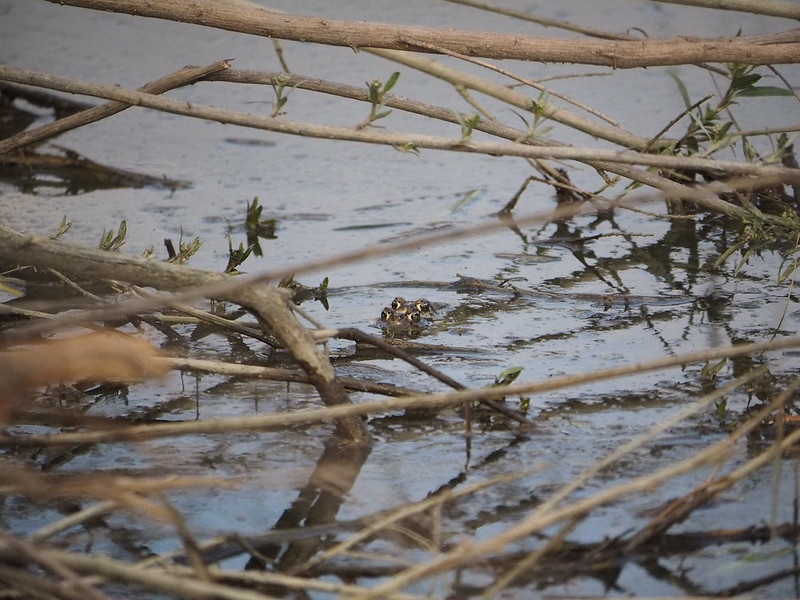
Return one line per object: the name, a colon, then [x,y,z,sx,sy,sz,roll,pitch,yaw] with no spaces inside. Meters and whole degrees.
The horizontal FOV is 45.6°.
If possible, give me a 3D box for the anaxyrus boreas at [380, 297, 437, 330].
anaxyrus boreas: [0.094,0.078,5.720,0.214,0.184,0.401,4,1,37]
